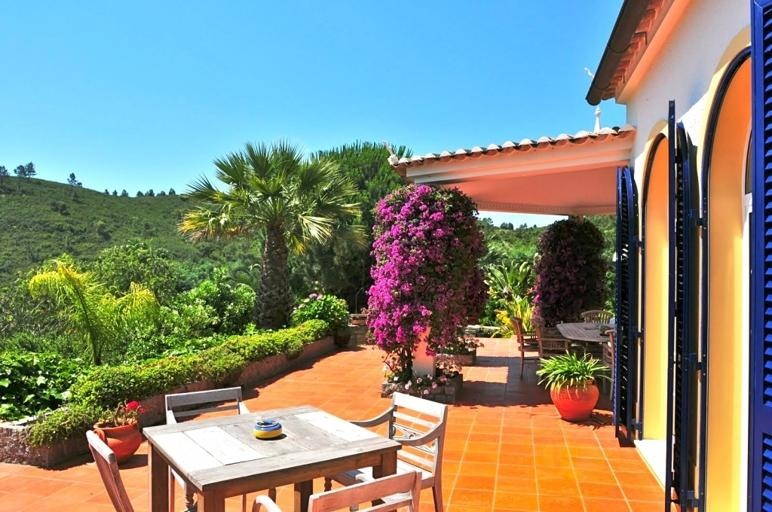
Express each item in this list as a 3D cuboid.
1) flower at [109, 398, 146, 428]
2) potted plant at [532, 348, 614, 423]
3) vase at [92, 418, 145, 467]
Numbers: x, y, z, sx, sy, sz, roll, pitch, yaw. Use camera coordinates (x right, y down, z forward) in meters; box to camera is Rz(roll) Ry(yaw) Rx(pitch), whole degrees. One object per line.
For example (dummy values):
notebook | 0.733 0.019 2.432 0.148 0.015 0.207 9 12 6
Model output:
flower | -3.419 2.072 7.201 0.449 0.236 0.454 -2 8 1
potted plant | 2.839 2.013 8.256 1.226 0.952 0.986 -10 -27 40
vase | -3.370 2.337 6.984 0.507 0.421 0.541 -4 5 10
